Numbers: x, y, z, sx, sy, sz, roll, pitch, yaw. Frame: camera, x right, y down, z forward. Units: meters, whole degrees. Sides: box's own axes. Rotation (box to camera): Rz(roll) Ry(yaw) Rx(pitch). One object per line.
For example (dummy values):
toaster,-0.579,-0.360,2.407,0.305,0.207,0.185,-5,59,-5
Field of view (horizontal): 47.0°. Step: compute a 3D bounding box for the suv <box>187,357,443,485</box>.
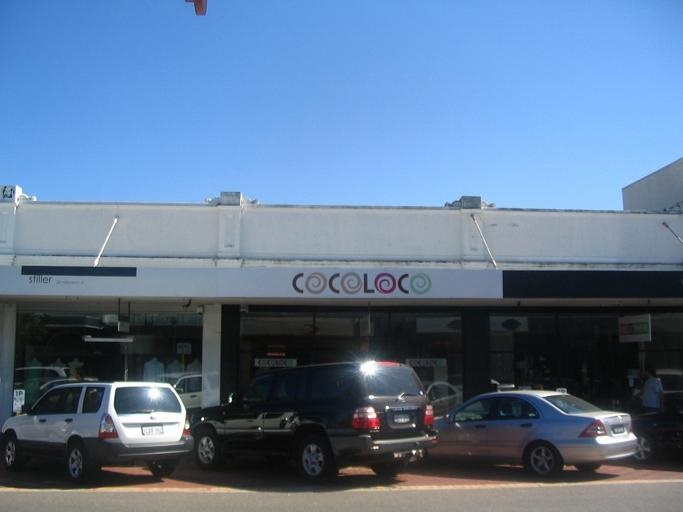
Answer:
suv,-0.533,3.582,17.813,4.830,2.090,2.393,-3,-10,36
